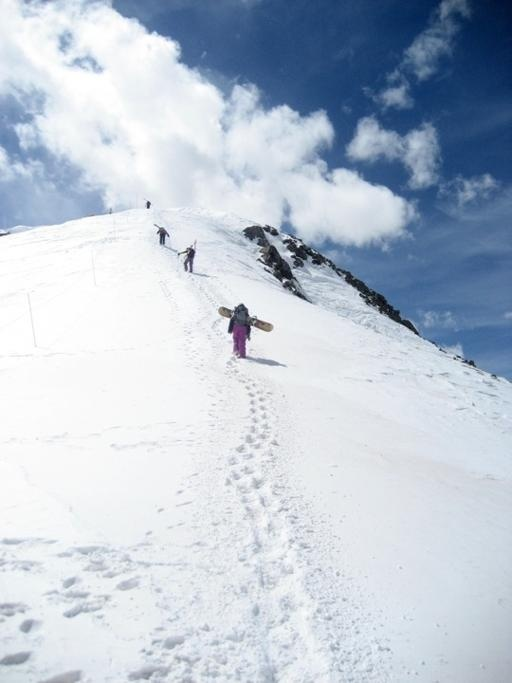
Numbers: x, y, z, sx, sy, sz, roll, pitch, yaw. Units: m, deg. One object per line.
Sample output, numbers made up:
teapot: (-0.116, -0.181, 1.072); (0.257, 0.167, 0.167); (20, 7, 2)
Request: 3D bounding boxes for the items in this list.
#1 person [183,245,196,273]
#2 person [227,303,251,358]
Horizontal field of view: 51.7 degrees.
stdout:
person: (-2.624, -3.177, 20.471); (0.366, 1.081, 1.409); (1, 15, -9)
person: (-0.351, -0.232, 10.863); (0.467, 1.000, 0.759); (3, 14, -2)
